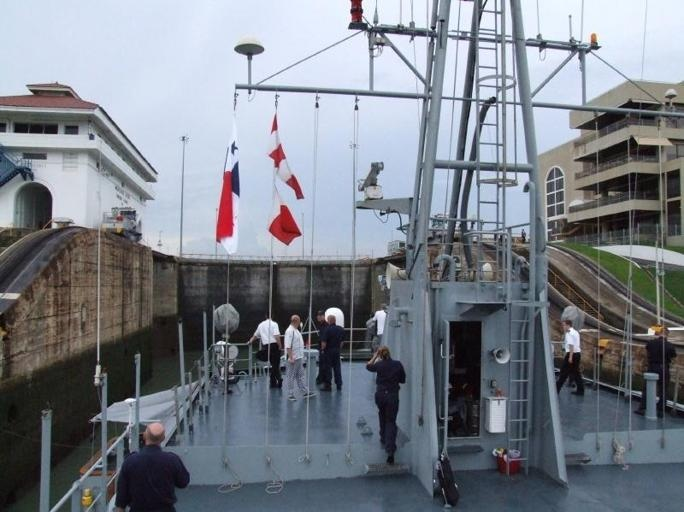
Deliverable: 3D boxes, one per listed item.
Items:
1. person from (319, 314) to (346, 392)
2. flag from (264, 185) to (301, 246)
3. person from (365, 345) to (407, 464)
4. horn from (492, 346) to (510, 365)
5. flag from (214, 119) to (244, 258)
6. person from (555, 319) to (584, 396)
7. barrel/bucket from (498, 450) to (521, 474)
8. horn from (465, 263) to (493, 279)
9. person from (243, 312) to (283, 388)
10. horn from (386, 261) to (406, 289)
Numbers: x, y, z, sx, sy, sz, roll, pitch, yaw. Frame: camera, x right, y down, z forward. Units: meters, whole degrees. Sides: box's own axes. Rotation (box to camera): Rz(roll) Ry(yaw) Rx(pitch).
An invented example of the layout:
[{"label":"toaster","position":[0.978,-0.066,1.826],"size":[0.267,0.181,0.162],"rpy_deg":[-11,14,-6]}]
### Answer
[{"label":"person","position":[-0.308,2.804,21.214],"size":[0.624,2.206,1.500],"rpy_deg":[0,-2,-2]},{"label":"flag","position":[-1.530,-1.026,18.631],"size":[0.748,0.218,2.161],"rpy_deg":[-7,42,-5]},{"label":"person","position":[1.086,3.619,17.777],"size":[0.826,2.799,0.577],"rpy_deg":[-2,-3,34]},{"label":"horn","position":[3.889,2.423,17.957],"size":[0.293,0.449,0.323],"rpy_deg":[-12,-3,-3]},{"label":"flag","position":[-2.754,-1.633,17.525],"size":[0.508,3.217,1.107],"rpy_deg":[0,-2,-11]},{"label":"person","position":[6.437,2.897,20.722],"size":[0.536,2.180,0.969],"rpy_deg":[-2,-3,40]},{"label":"barrel/bucket","position":[4.022,5.003,17.663],"size":[0.373,0.555,0.532],"rpy_deg":[0,-11,12]},{"label":"horn","position":[3.662,0.410,19.450],"size":[0.641,0.511,2.586],"rpy_deg":[-1,-3,10]},{"label":"person","position":[-2.207,2.707,21.495],"size":[0.936,2.535,0.504],"rpy_deg":[3,22,20]},{"label":"horn","position":[1.505,0.487,19.860],"size":[0.563,0.644,0.557],"rpy_deg":[1,-3,-10]}]
